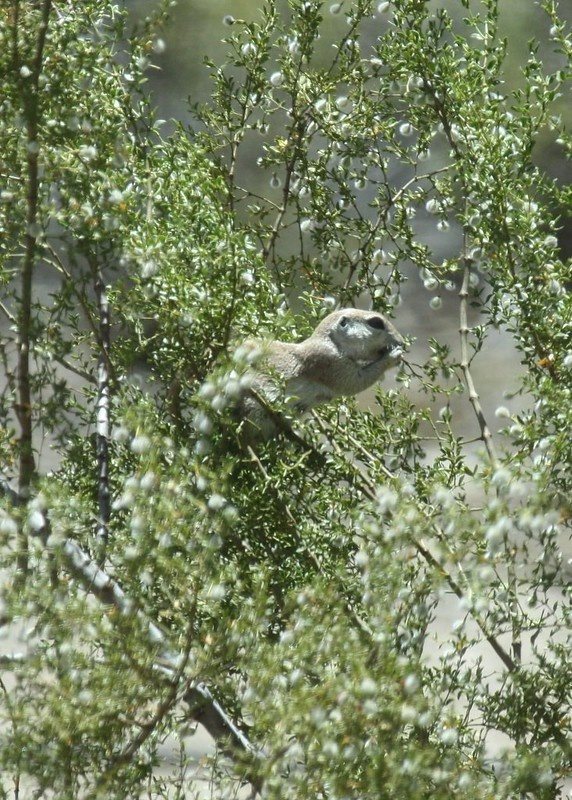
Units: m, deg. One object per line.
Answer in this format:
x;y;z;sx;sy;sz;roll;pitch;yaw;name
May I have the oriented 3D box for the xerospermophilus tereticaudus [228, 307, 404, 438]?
0.031;-0.040;1.807;0.242;0.068;0.096;-9;-90;27;xerospermophilus tereticaudus
